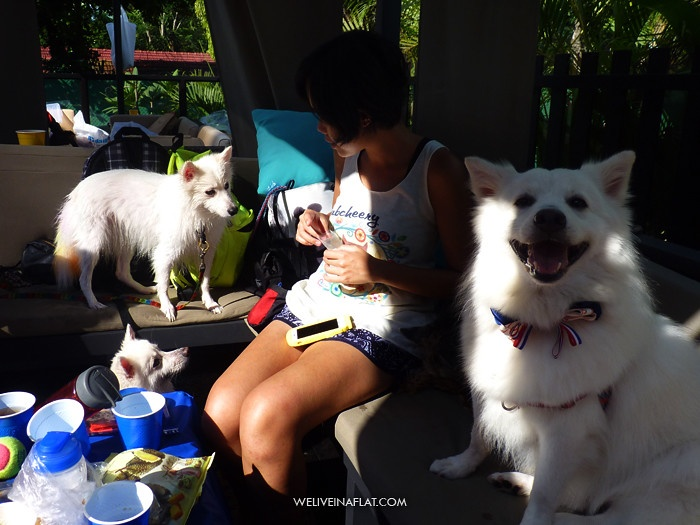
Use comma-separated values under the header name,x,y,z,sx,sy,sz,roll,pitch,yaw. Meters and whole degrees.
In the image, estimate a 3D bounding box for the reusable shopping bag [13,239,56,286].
name,x,y,z,sx,sy,sz,roll,pitch,yaw
reusable shopping bag,-2.331,0.002,3.750,0.325,0.379,0.257,-1,1,7

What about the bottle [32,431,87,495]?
name,x,y,z,sx,sy,sz,roll,pitch,yaw
bottle,-1.140,0.732,1.926,0.169,0.178,0.209,13,43,-37

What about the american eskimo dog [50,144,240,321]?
name,x,y,z,sx,sy,sz,roll,pitch,yaw
american eskimo dog,-1.579,-0.248,3.867,1.416,1.255,0.566,3,15,3

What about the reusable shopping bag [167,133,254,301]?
name,x,y,z,sx,sy,sz,roll,pitch,yaw
reusable shopping bag,-1.152,-0.312,4.077,0.509,1.015,0.678,10,-1,20

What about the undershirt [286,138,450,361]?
name,x,y,z,sx,sy,sz,roll,pitch,yaw
undershirt,0.111,-0.104,2.996,0.931,1.405,0.781,5,0,22

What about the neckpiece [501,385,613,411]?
name,x,y,z,sx,sy,sz,roll,pitch,yaw
neckpiece,0.808,0.521,1.872,0.217,0.070,0.169,-6,1,17
